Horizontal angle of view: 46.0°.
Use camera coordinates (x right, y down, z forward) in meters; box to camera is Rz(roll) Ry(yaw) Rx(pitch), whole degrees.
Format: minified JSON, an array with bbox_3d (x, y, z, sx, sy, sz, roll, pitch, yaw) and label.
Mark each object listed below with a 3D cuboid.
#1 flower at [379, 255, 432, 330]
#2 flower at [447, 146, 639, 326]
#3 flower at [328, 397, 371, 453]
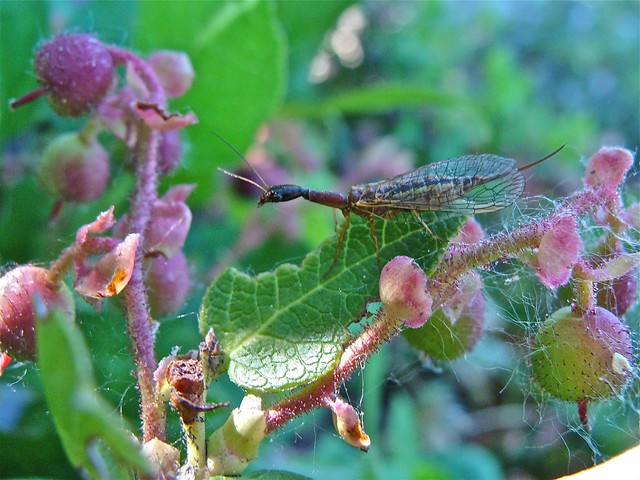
[{"bbox_3d":[0.205,0.124,1.860,0.095,0.127,0.166,-12,72,-16],"label":"flower"},{"bbox_3d":[0.624,0.022,1.989,0.507,0.201,0.351,-40,88,9],"label":"flower"},{"bbox_3d":[0.083,0.453,1.863,0.039,0.067,0.125,28,16,-11],"label":"flower"}]
